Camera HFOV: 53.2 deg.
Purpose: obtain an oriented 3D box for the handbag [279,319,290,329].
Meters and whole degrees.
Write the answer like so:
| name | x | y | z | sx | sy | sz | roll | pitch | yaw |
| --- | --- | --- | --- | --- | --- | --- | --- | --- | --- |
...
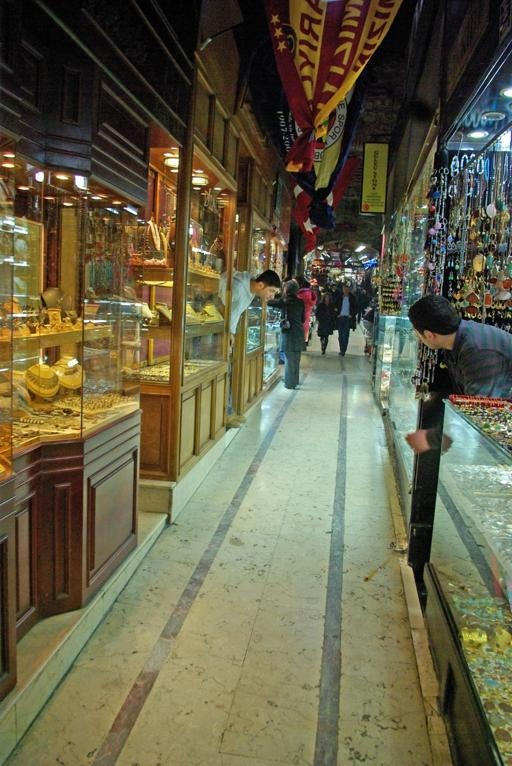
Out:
| name | x | y | z | sx | sy | sz | roll | pitch | yaw |
| --- | --- | --- | --- | --- | --- | --- | --- | --- | --- |
| handbag | 0.511 | -1.005 | 8.866 | 0.179 | 0.179 | 0.186 | 5 | -15 | -1 |
